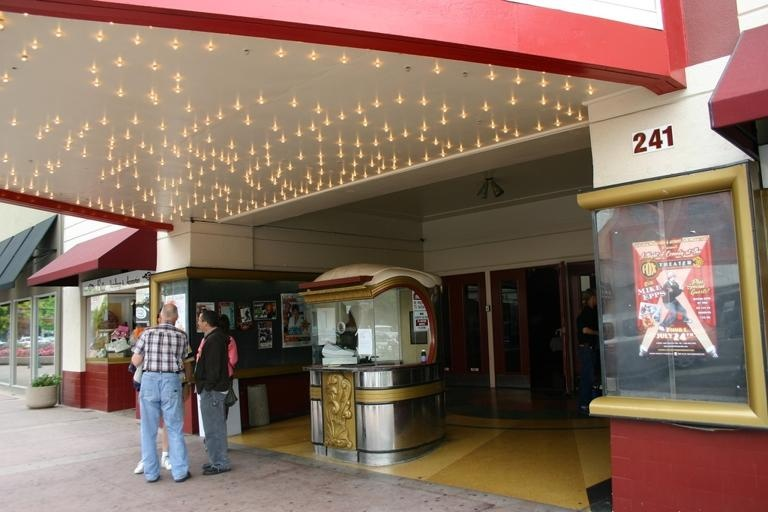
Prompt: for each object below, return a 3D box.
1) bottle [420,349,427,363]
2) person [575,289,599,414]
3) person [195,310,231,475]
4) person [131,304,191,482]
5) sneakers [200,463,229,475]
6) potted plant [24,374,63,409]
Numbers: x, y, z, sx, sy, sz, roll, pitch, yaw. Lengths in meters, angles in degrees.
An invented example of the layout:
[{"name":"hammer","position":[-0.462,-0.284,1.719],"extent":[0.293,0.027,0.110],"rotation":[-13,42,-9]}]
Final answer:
[{"name":"bottle","position":[0.608,1.489,9.251],"extent":[0.158,0.188,0.049],"rotation":[-1,-3,-42]},{"name":"person","position":[3.626,1.686,10.893],"extent":[0.364,1.492,0.613],"rotation":[-3,-2,17]},{"name":"person","position":[-2.371,1.872,8.581],"extent":[0.475,2.220,0.350],"rotation":[-2,-2,-16]},{"name":"person","position":[-2.981,1.826,8.283],"extent":[0.719,2.340,0.422],"rotation":[-2,-2,-23]},{"name":"sneakers","position":[-2.328,2.933,8.500],"extent":[0.371,0.142,0.135],"rotation":[8,-11,-14]},{"name":"potted plant","position":[-8.125,3.250,14.821],"extent":[0.748,0.742,0.495],"rotation":[-1,-2,-44]}]
